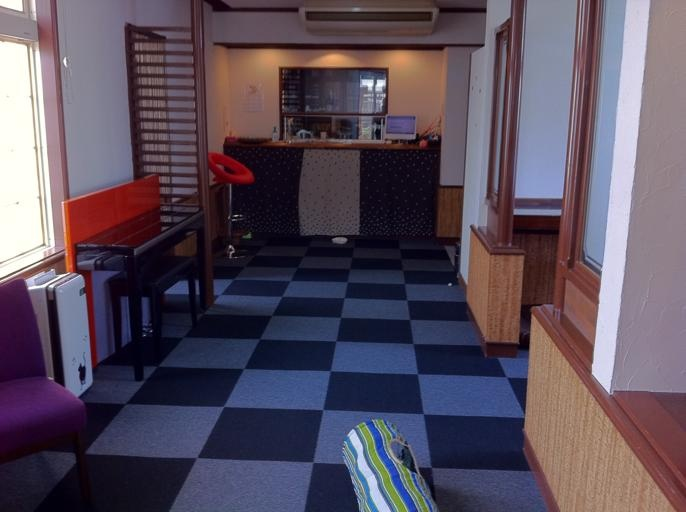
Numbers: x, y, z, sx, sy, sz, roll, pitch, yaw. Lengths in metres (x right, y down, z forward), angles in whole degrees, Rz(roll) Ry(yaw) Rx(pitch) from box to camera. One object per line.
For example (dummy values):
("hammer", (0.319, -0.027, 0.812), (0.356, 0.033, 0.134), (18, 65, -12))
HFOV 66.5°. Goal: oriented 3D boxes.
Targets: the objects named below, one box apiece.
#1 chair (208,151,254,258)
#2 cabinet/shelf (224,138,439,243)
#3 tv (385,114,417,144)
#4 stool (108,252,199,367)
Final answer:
("chair", (-1.577, -0.763, 7.479), (0.603, 1.457, 1.552), (-3, 17, -10))
("cabinet/shelf", (-0.164, -0.984, 8.606), (3.092, 1.662, 0.860), (1, -7, 2))
("tv", (0.895, -2.000, 8.185), (0.603, 0.530, 0.330), (1, 13, 5))
("stool", (-1.672, 0.413, 4.675), (0.373, 0.620, 0.971), (0, 8, 4))
